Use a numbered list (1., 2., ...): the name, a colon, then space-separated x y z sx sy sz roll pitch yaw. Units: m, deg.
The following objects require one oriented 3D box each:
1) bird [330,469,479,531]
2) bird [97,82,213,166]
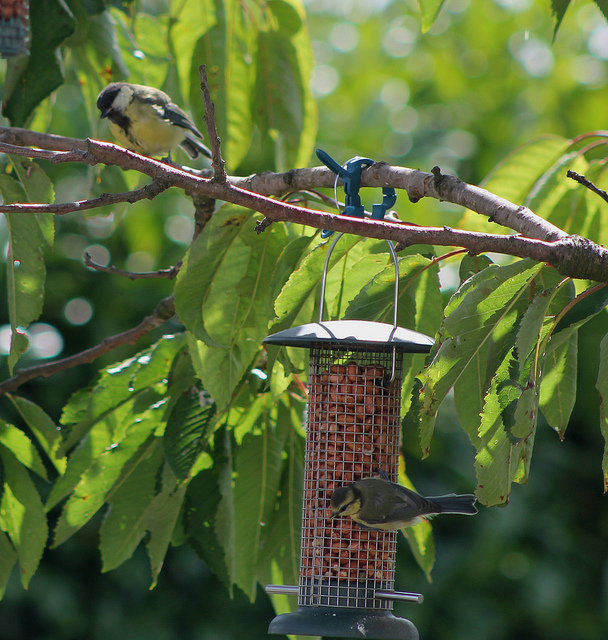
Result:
1. bird: 0.513 0.983 6.715 0.732 0.282 0.229 -4 13 4
2. bird: -0.960 -1.255 8.359 0.357 0.556 0.977 -2 9 34
